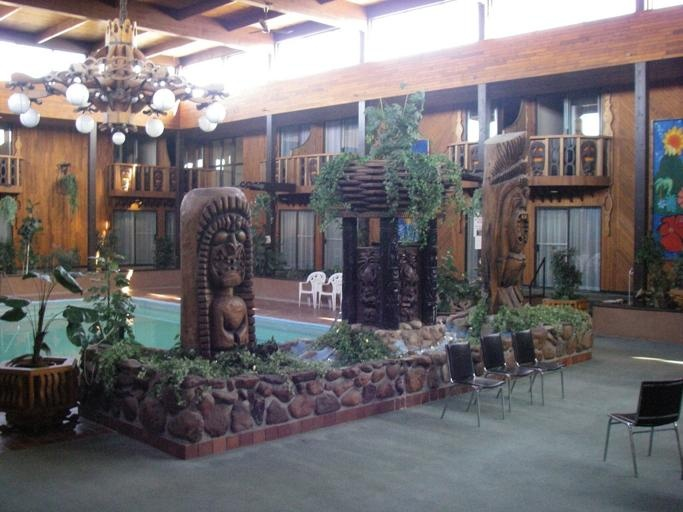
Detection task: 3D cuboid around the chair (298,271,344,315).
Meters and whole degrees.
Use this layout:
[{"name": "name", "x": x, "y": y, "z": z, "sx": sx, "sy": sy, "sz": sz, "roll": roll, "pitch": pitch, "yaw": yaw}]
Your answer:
[{"name": "chair", "x": -0.584, "y": 0.824, "z": 14.126, "sx": 1.052, "sy": 0.885, "sz": 2.159, "roll": 0, "pitch": 4, "yaw": -5}]

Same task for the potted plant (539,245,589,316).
[{"name": "potted plant", "x": 4.741, "y": 0.497, "z": 11.689, "sx": 0.723, "sy": 1.258, "sz": 0.770, "roll": -2, "pitch": 5, "yaw": -29}]

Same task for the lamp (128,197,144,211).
[{"name": "lamp", "x": -8.662, "y": -2.166, "z": 23.369, "sx": 0.586, "sy": 0.473, "sz": 0.423, "roll": -1, "pitch": 4, "yaw": -24}]
